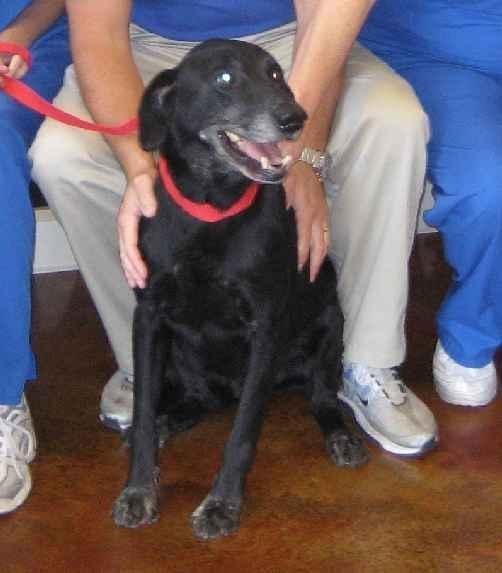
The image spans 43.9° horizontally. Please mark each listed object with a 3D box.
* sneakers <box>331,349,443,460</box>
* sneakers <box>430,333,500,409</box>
[{"bbox_3d":[0.356,0.277,1.586,0.191,0.134,0.369,-9,21,-16],"label":"sneakers"},{"bbox_3d":[0.570,0.231,1.729,0.156,0.159,0.176,-7,29,5],"label":"sneakers"}]
